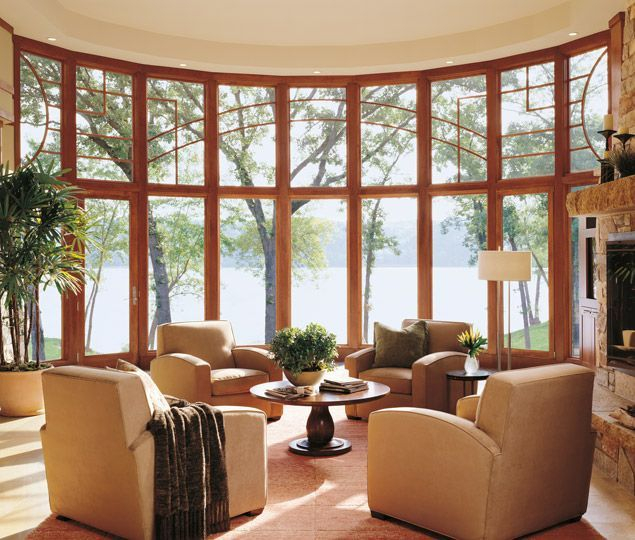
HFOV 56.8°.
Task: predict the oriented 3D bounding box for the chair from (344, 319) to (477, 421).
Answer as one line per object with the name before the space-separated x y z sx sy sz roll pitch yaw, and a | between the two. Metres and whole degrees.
chair | 0.896 1.008 5.844 1.246 0.898 1.177 0 -1 -16

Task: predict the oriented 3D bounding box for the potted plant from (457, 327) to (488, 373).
potted plant | 1.429 0.731 5.371 0.292 0.389 0.324 -4 -11 43

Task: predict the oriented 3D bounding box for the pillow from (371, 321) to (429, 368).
pillow | 0.829 0.752 5.861 0.444 0.397 0.168 -1 -29 12

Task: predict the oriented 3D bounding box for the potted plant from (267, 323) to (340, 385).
potted plant | -0.127 0.729 4.960 0.603 0.581 0.591 2 1 17

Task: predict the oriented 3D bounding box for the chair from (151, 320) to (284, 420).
chair | -1.030 1.017 5.826 1.099 0.950 1.197 -2 -3 29

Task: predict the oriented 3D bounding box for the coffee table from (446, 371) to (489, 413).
coffee table | 1.317 1.101 5.313 0.284 0.299 0.284 3 -7 -22
